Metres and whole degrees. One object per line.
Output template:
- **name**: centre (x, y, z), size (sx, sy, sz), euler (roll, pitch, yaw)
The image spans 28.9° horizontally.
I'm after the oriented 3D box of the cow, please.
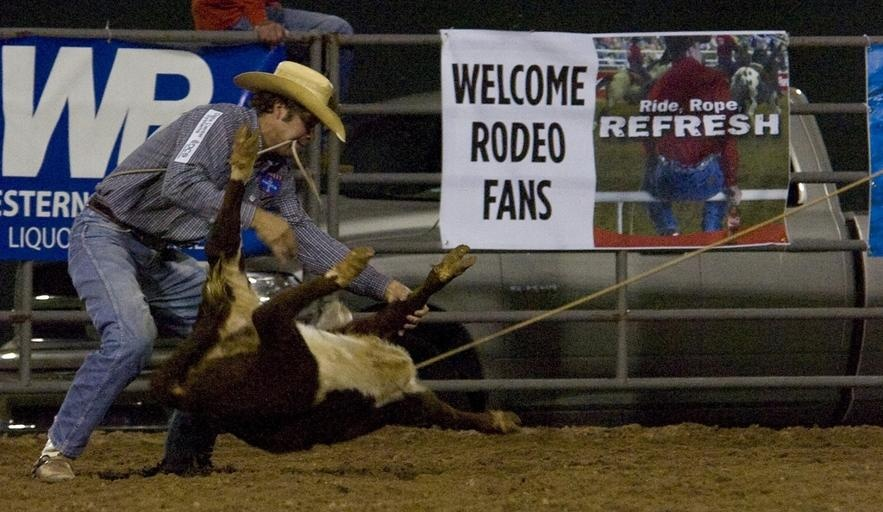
- **cow**: centre (-0.537, 0.446, 11.158), size (2.488, 1.817, 0.922), euler (15, 6, -10)
